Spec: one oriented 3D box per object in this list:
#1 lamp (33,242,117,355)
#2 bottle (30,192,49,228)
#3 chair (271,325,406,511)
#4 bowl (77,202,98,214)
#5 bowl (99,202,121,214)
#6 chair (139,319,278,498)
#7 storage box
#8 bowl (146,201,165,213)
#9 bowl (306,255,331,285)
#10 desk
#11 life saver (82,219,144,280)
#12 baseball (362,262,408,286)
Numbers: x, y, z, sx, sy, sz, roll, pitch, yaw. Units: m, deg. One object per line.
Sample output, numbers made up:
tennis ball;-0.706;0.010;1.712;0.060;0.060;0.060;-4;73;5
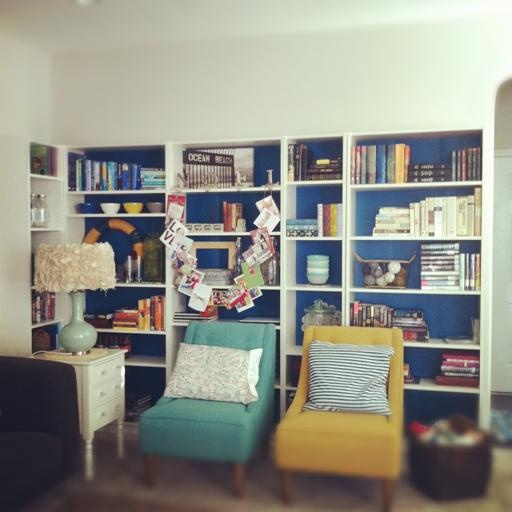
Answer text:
lamp;-1.055;0.209;3.171;0.538;0.806;0.554;-1;1;-39
bottle;-1.371;-0.283;3.334;0.092;0.210;0.158;1;5;-10
chair;0.352;0.586;2.229;0.441;0.664;0.617;-1;-8;15
bowl;-1.113;-0.303;3.477;0.081;0.042;0.084;1;1;0
bowl;-0.949;-0.305;3.439;0.079;0.049;0.082;0;2;0
chair;-0.213;0.732;2.687;0.497;0.734;0.730;0;-4;13
storage box;0.369;0.393;1.037;0.116;0.103;0.155;1;-5;-12
bowl;-0.644;-0.308;3.401;0.085;0.052;0.086;1;-1;0
bowl;0.366;0.084;3.108;0.149;0.182;0.153;1;0;0
desk;-0.975;0.845;2.973;0.356;0.568;0.461;-1;-2;10
life saver;-0.941;-0.109;3.534;0.400;0.110;0.444;-3;19;0
baseball;0.716;0.106;2.961;0.194;0.133;0.135;2;-1;21
